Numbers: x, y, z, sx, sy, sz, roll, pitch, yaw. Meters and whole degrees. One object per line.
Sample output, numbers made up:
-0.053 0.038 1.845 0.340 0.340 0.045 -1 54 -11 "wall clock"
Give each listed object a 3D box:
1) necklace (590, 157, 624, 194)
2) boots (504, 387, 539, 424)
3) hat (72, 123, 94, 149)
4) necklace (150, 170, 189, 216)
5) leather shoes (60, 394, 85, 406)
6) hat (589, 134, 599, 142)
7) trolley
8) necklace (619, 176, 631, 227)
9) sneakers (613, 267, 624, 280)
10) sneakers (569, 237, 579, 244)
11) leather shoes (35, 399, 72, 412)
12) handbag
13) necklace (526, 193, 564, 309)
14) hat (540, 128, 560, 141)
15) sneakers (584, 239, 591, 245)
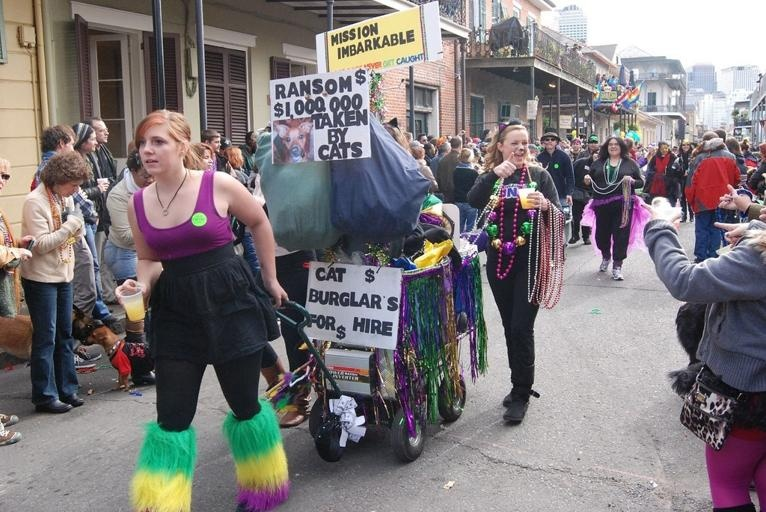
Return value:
3.817 -1.328 10.575 0.385 0.720 0.139 -5 -28 27 "necklace"
1.155 1.231 5.253 0.218 0.236 0.418 7 15 32 "boots"
-3.440 -1.390 7.136 0.241 0.273 0.260 18 19 27 "hat"
-1.291 -0.378 3.808 0.157 0.298 0.074 6 -3 1 "necklace"
-2.825 1.302 5.668 0.211 0.088 0.079 0 3 2 "leather shoes"
5.073 -2.868 14.987 0.204 0.171 0.317 2 -4 9 "hat"
-0.079 0.756 4.970 1.399 1.397 1.914 -2 5 26 "trolley"
4.025 -0.893 10.246 0.192 0.824 0.178 -2 13 -3 "necklace"
3.872 0.293 10.273 0.113 0.134 0.274 0 0 3 "sneakers"
4.353 -0.351 14.236 0.157 0.055 0.170 -15 6 21 "sneakers"
-2.932 1.336 5.575 0.322 0.124 0.121 -1 2 -5 "leather shoes"
1.738 0.832 3.303 0.133 0.357 0.281 3 26 -25 "handbag"
1.390 -0.007 5.251 0.501 0.858 0.245 -9 15 -33 "necklace"
3.318 -2.422 12.391 0.279 0.154 0.387 1 -13 10 "hat"
4.645 -0.327 14.118 0.092 0.105 0.161 -4 -4 -12 "sneakers"
